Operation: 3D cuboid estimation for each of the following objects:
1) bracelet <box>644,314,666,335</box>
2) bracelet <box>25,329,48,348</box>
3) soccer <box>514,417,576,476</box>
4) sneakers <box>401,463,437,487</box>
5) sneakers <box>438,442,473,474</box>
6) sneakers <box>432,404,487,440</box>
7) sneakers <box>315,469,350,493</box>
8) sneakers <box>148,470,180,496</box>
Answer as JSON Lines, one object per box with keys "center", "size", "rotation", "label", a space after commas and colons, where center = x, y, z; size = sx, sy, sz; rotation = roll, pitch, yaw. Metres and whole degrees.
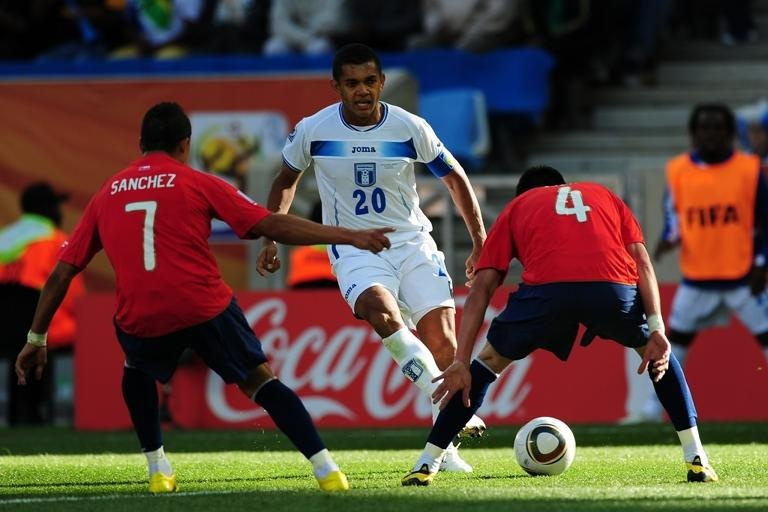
{"center": [2.035, 0.500, 8.451], "size": [0.135, 0.131, 0.118], "rotation": [0, -5, -36], "label": "bracelet"}
{"center": [-2.630, 0.621, 8.506], "size": [0.133, 0.100, 0.129], "rotation": [9, -3, -34], "label": "bracelet"}
{"center": [1.310, 1.536, 9.059], "size": [0.503, 0.565, 0.563], "rotation": [-1, -16, 2], "label": "soccer"}
{"center": [0.271, 1.658, 8.485], "size": [0.119, 0.123, 0.270], "rotation": [33, -37, -29], "label": "sneakers"}
{"center": [0.652, 1.674, 9.239], "size": [0.387, 0.238, 0.139], "rotation": [0, -8, 11], "label": "sneakers"}
{"center": [0.697, 1.330, 8.934], "size": [0.192, 0.236, 0.533], "rotation": [-43, -24, 29], "label": "sneakers"}
{"center": [-0.382, 1.667, 8.338], "size": [0.223, 0.164, 0.148], "rotation": [-7, 9, -6], "label": "sneakers"}
{"center": [-1.673, 1.699, 8.487], "size": [0.127, 0.187, 0.207], "rotation": [1, -22, -13], "label": "sneakers"}
